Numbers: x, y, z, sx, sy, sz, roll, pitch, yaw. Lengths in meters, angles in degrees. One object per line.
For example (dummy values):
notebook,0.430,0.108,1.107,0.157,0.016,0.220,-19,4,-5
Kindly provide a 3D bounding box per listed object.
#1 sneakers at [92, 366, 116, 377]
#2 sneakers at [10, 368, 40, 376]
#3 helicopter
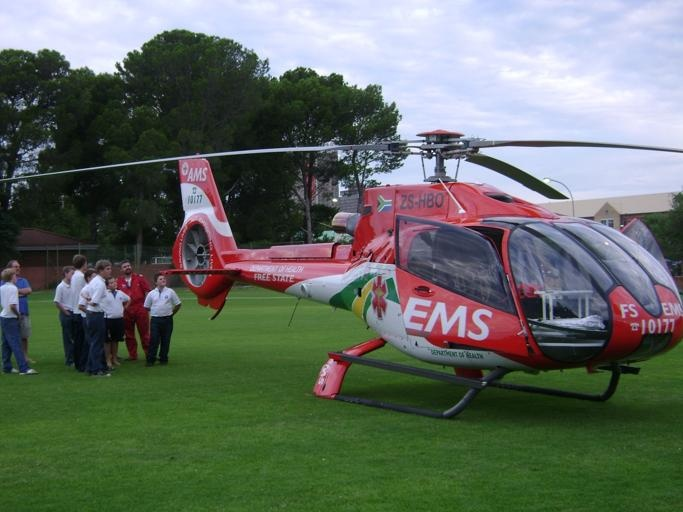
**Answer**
sneakers,-4.505,2.244,12.596,0.442,0.110,0.121,2,-15,-6
sneakers,-6.111,2.237,12.725,0.585,0.141,0.160,0,0,0
helicopter,1.170,0.328,11.340,8.976,2.083,8.073,-3,1,-40
